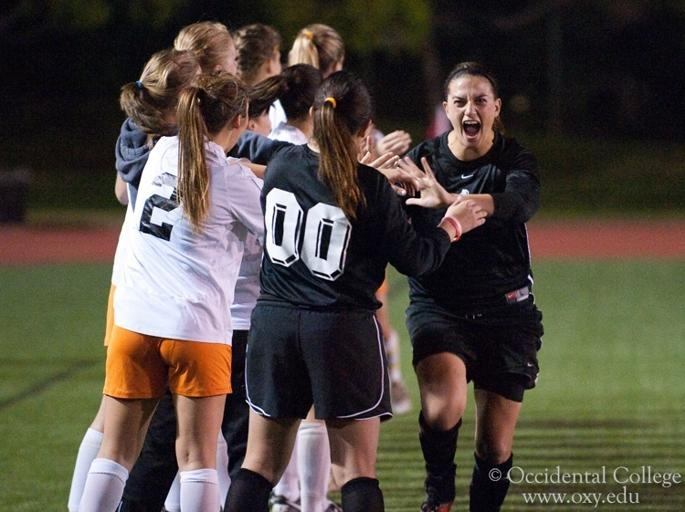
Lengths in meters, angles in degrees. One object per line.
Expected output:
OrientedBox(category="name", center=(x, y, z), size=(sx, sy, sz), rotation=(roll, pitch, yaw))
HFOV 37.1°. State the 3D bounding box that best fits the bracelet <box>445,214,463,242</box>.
OrientedBox(category="bracelet", center=(0.690, -0.157, 6.050), size=(0.050, 0.133, 0.117), rotation=(-14, 40, 19))
